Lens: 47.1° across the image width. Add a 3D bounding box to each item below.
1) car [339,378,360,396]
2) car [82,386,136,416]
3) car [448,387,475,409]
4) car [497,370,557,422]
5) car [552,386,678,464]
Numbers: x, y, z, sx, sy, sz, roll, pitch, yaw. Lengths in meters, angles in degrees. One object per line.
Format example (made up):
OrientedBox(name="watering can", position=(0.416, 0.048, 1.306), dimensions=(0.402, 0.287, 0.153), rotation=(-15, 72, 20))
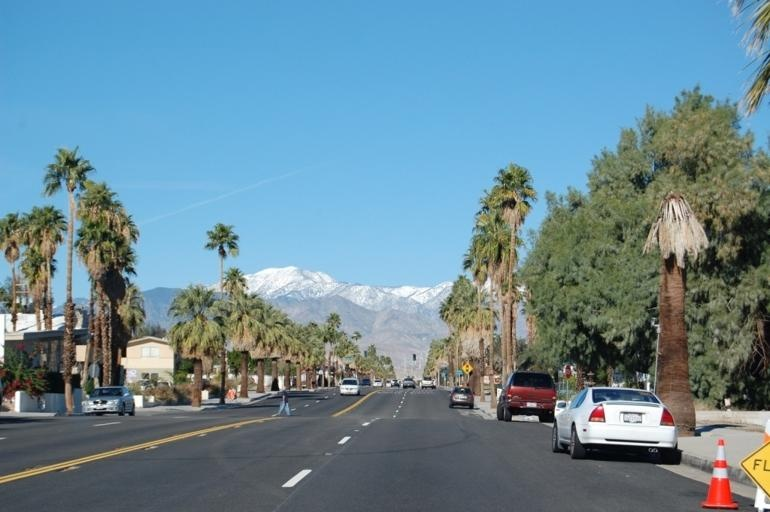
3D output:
OrientedBox(name="car", position=(-3.624, 13.752, 92.250), dimensions=(1.191, 1.339, 2.446), rotation=(0, -12, 2))
OrientedBox(name="car", position=(-16.886, 8.899, 54.148), dimensions=(2.806, 1.843, 1.990), rotation=(3, -13, -22))
OrientedBox(name="car", position=(5.589, 10.413, 65.006), dimensions=(1.850, 1.474, 1.408), rotation=(3, -12, -19))
OrientedBox(name="car", position=(7.223, 7.152, 45.596), dimensions=(1.723, 1.765, 3.374), rotation=(1, -3, 0))
OrientedBox(name="car", position=(7.621, 5.627, 29.202), dimensions=(3.829, 2.595, 1.965), rotation=(-6, -12, 19))
